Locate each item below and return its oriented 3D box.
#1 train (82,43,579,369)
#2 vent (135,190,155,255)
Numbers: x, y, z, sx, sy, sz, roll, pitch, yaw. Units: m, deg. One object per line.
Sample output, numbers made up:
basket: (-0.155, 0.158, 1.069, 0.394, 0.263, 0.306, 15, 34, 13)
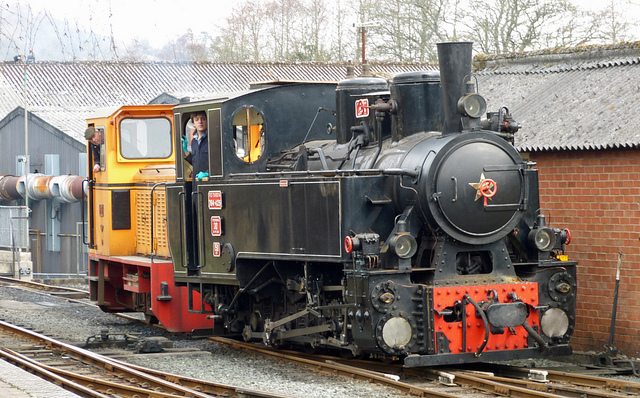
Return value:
train: (-1.001, 0.217, 16.647, 5.638, 5.401, 12.077, -2, 2, -35)
vent: (-4.308, 0.505, 17.788, 0.265, 1.594, 1.205, 0, -2, -39)
